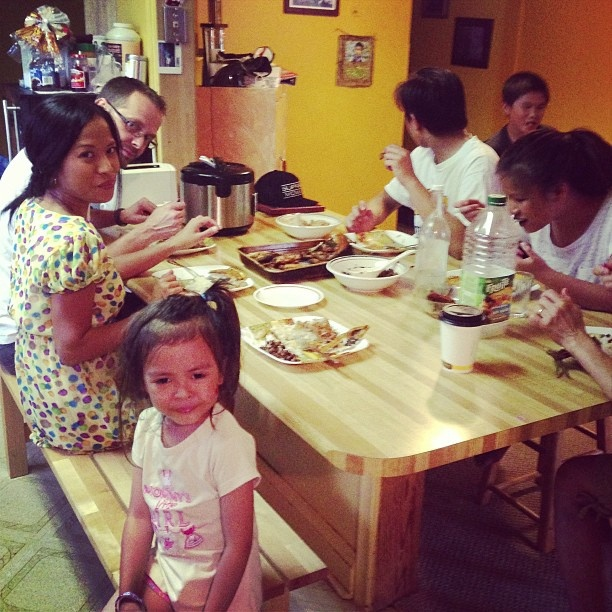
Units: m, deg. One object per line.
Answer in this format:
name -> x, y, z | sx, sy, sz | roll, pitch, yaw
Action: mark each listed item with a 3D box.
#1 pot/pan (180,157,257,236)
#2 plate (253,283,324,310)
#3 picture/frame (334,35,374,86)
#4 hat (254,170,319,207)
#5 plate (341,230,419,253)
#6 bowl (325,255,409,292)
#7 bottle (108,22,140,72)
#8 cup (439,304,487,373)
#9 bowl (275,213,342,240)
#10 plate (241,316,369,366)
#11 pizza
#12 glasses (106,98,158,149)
pot/pan -> -0.398, -0.497, 2.581 | 0.412, 0.322, 0.378 | -4, 20, -18
plate -> -0.048, -0.030, 1.772 | 0.127, 0.014, 0.114 | 9, 25, 17
picture/frame -> 0.358, -1.931, 4.544 | 0.488, 0.416, 0.048 | -6, 24, -21
hat -> -0.103, -0.602, 2.974 | 0.305, 0.124, 0.189 | 7, 19, 15
plate -> 0.309, -0.252, 2.268 | 0.180, 0.029, 0.156 | -3, 22, -6
bowl -> 0.177, -0.107, 1.882 | 0.177, 0.044, 0.175 | 0, 23, 0
bottle -> -1.124, -1.612, 3.610 | 0.213, 0.257, 0.245 | -7, 21, -14
cup -> 0.346, 0.076, 1.313 | 0.086, 0.139, 0.064 | 4, 23, 13
bowl -> -0.002, -0.350, 2.495 | 0.212, 0.046, 0.186 | 3, 21, 9
plate -> 0.003, 0.084, 1.458 | 0.173, 0.022, 0.166 | -8, 21, -21
pizza -> -0.030, -0.183, 2.060 | 0.311, 0.036, 0.175 | -10, 23, -14
glasses -> -0.756, -0.770, 2.448 | 0.180, 0.055, 0.185 | 48, 17, 23
